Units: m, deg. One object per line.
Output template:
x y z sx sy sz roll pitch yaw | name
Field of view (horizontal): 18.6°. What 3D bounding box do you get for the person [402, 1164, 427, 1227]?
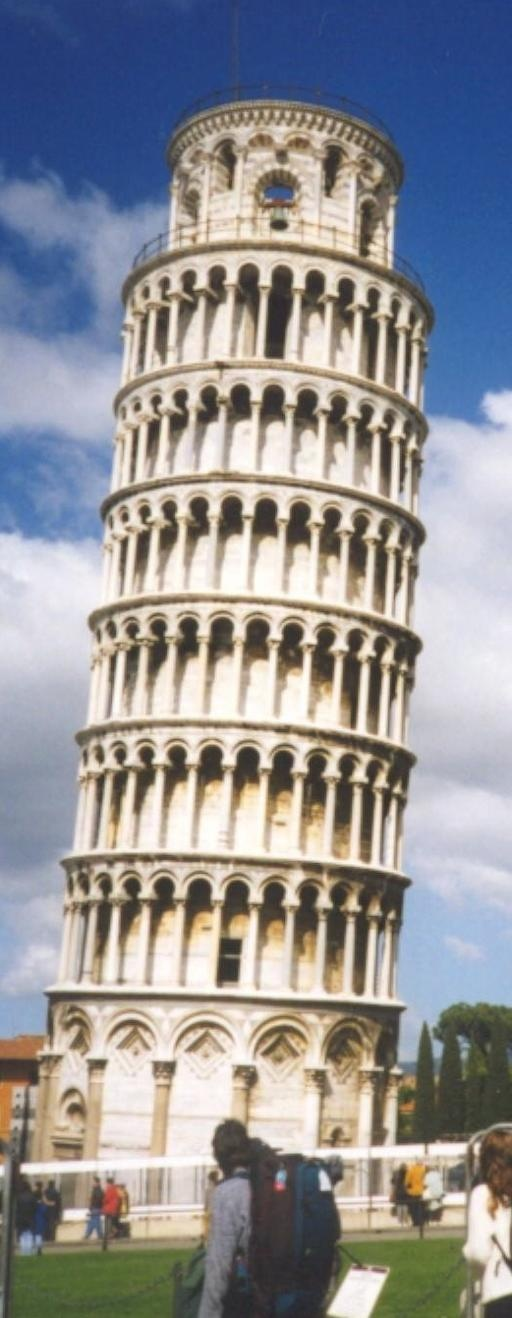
3.188 10.833 31.488 0.442 1.184 2.085 4 -14 7 | person
